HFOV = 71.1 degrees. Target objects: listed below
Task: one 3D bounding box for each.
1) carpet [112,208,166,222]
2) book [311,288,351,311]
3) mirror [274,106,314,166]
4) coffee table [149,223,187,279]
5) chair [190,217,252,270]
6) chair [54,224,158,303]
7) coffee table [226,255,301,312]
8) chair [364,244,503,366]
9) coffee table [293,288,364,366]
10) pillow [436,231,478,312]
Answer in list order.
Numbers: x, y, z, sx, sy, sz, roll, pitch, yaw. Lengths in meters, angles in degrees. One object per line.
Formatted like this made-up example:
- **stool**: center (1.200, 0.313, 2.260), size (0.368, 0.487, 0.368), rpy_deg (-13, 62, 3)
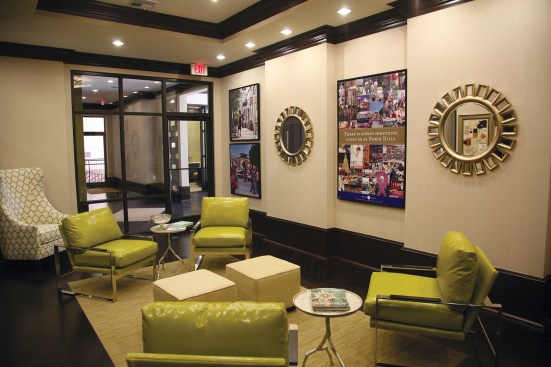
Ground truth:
- **carpet**: center (-3.074, 0.698, 8.783), size (0.977, 0.407, 0.013), rpy_deg (-7, 17, -27)
- **book**: center (0.639, 1.352, 4.561), size (0.436, 0.099, 0.505), rpy_deg (0, 6, 3)
- **mirror**: center (0.391, -0.918, 7.412), size (0.062, 1.134, 1.108), rpy_deg (-4, -2, -35)
- **coffee table**: center (-1.825, 1.112, 7.023), size (0.833, 1.006, 0.913), rpy_deg (-1, 11, -16)
- **chair**: center (-0.918, 1.022, 6.820), size (0.826, 0.878, 0.967), rpy_deg (0, -3, -1)
- **chair**: center (-2.604, 1.238, 6.300), size (1.275, 1.213, 1.155), rpy_deg (0, 2, 18)
- **coffee table**: center (-0.158, 1.274, 5.482), size (0.736, 0.575, 0.730), rpy_deg (-4, 7, -36)
- **chair**: center (1.874, 1.203, 4.948), size (1.501, 1.318, 1.423), rpy_deg (2, 4, 15)
- **coffee table**: center (0.572, 1.717, 4.775), size (0.818, 0.917, 0.797), rpy_deg (-4, 13, -14)
- **pillow**: center (2.092, 1.049, 4.451), size (0.276, 0.595, 0.762), rpy_deg (1, 7, 15)
